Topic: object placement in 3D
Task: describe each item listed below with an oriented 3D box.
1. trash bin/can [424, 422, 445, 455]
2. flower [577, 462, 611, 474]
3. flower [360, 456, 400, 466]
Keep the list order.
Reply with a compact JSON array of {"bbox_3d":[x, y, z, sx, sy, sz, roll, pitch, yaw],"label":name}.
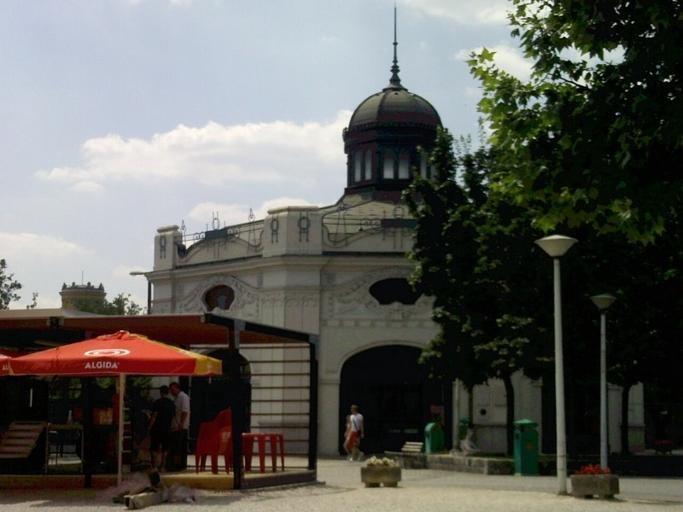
[{"bbox_3d":[2.968,6.018,43.134,0.548,1.088,1.209,-3,-14,13],"label":"trash bin/can"},{"bbox_3d":[5.886,5.034,30.791,0.776,0.271,0.791,-1,-10,8],"label":"flower"},{"bbox_3d":[1.006,5.218,33.081,0.719,0.271,0.668,-2,-15,11],"label":"flower"}]
